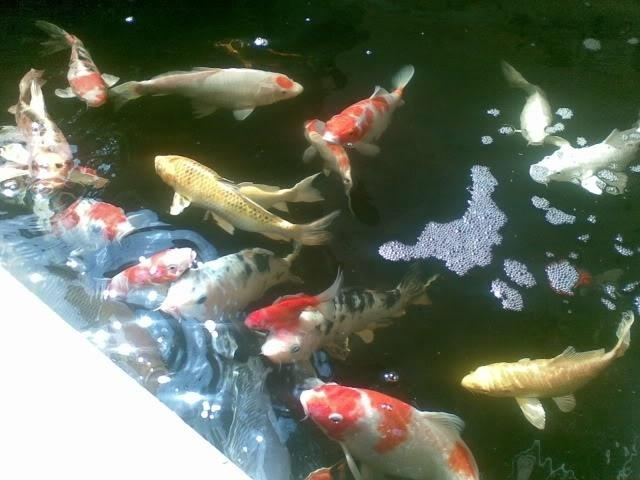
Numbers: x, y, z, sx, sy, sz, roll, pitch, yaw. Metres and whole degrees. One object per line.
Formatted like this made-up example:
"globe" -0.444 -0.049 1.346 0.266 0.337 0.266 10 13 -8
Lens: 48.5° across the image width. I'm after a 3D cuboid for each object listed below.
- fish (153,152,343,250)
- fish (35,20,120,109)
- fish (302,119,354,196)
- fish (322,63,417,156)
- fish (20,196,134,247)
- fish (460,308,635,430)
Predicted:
"fish" -0.260 -0.106 2.364 0.605 0.245 0.232 30 61 2
"fish" -0.861 -0.583 2.543 0.186 0.146 0.371 -24 73 -22
"fish" 0.029 -0.260 2.316 0.067 0.091 0.234 -24 76 -42
"fish" 0.177 -0.431 2.410 0.188 0.205 0.460 27 49 31
"fish" -0.764 -0.062 2.343 0.363 0.133 0.191 6 87 8
"fish" 0.651 0.407 2.233 0.606 0.289 0.210 -12 41 6
